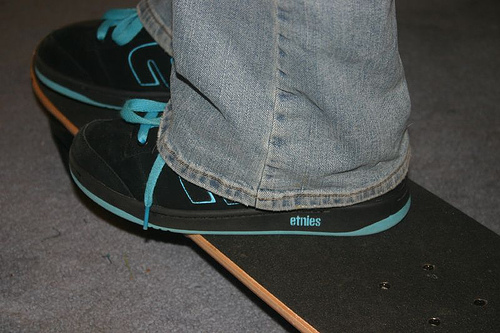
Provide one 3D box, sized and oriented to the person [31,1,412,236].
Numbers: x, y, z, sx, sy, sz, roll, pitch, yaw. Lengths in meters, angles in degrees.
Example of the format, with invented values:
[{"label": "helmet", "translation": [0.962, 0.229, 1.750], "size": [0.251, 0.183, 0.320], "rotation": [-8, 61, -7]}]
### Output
[{"label": "person", "translation": [-0.013, -0.056, 1.076], "size": [0.792, 0.283, 0.576], "rotation": [0, 53, -1]}]
